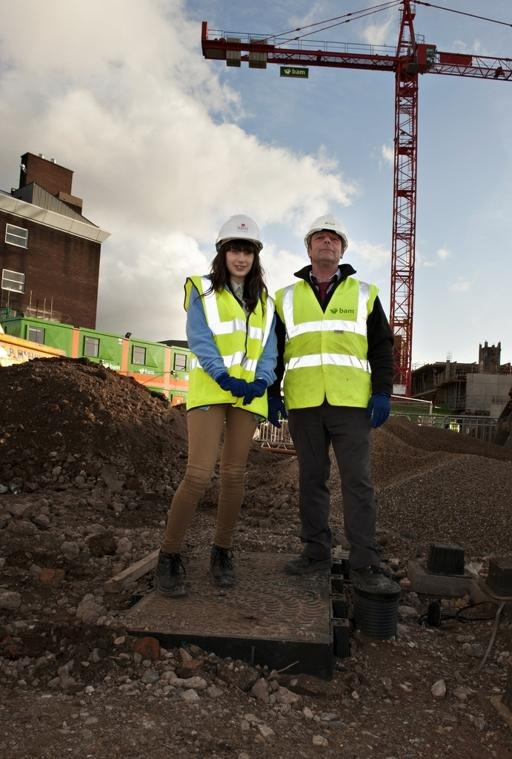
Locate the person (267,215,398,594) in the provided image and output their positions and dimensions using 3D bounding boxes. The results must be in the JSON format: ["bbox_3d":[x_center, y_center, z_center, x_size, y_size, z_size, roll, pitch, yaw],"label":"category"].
[{"bbox_3d":[0.491,0.101,3.369,0.459,2.030,0.991,1,5,-44],"label":"person"}]

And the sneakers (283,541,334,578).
[{"bbox_3d":[0.312,1.043,3.359,0.315,0.192,0.121,2,-4,-11],"label":"sneakers"}]

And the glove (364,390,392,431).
[{"bbox_3d":[0.681,0.165,3.202,0.128,0.177,0.064,1,-3,13],"label":"glove"}]

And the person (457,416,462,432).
[{"bbox_3d":[5.042,1.078,14.286,0.122,0.245,0.921,6,4,20],"label":"person"}]

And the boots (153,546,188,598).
[{"bbox_3d":[-0.428,0.966,2.948,0.128,0.201,0.183,4,4,-21],"label":"boots"}]

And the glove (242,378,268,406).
[{"bbox_3d":[-0.008,0.065,3.000,0.078,0.132,0.197,7,4,21],"label":"glove"}]

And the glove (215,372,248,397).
[{"bbox_3d":[-0.122,0.027,2.933,0.168,0.127,0.104,5,4,-1],"label":"glove"}]

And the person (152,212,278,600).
[{"bbox_3d":[-0.158,0.123,3.082,0.605,2.011,0.536,4,4,-14],"label":"person"}]

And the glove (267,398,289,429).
[{"bbox_3d":[0.127,0.207,3.633,0.130,0.169,0.066,-15,8,-21],"label":"glove"}]
